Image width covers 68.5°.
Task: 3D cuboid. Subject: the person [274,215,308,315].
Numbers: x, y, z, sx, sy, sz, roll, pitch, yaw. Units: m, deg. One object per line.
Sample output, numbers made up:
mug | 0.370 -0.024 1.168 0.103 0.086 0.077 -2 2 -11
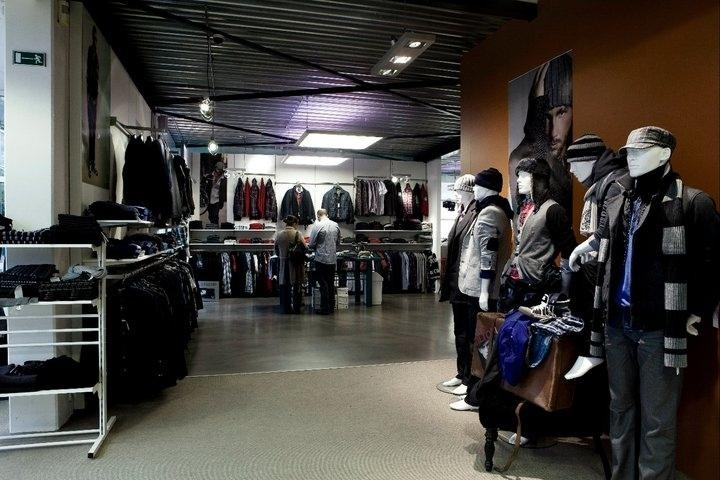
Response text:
person | -1.323 0.602 10.116 0.537 1.537 0.444 0 6 -11

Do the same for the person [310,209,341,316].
person | -0.660 0.436 10.074 0.573 1.960 0.547 -3 7 -33

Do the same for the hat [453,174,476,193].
hat | 1.082 -0.587 5.553 0.160 0.196 0.210 2 11 -22

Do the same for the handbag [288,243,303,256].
handbag | -1.228 0.199 10.104 0.222 0.216 0.221 2 -6 -40

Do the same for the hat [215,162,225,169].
hat | -3.459 -1.833 13.126 0.198 0.164 0.331 11 15 2

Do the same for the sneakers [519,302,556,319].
sneakers | 1.368 0.550 4.064 0.272 0.123 0.094 4 -2 20

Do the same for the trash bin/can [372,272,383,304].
trash bin/can | 0.356 1.032 11.181 0.168 0.718 0.332 3 7 17

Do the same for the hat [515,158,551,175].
hat | 1.518 -0.622 4.617 0.215 0.117 0.170 5 2 34

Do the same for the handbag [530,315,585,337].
handbag | 1.469 0.639 3.921 0.366 0.124 0.151 3 7 15

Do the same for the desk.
desk | 1.452 1.247 4.610 1.072 1.582 1.248 3 -7 -11

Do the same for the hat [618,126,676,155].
hat | 2.024 -0.690 3.657 0.267 0.102 0.187 4 0 5

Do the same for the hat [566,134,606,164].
hat | 1.818 -0.714 4.285 0.245 0.194 0.233 -12 5 -15

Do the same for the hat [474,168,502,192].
hat | 1.267 -0.576 5.245 0.232 0.199 0.234 29 -3 -7
